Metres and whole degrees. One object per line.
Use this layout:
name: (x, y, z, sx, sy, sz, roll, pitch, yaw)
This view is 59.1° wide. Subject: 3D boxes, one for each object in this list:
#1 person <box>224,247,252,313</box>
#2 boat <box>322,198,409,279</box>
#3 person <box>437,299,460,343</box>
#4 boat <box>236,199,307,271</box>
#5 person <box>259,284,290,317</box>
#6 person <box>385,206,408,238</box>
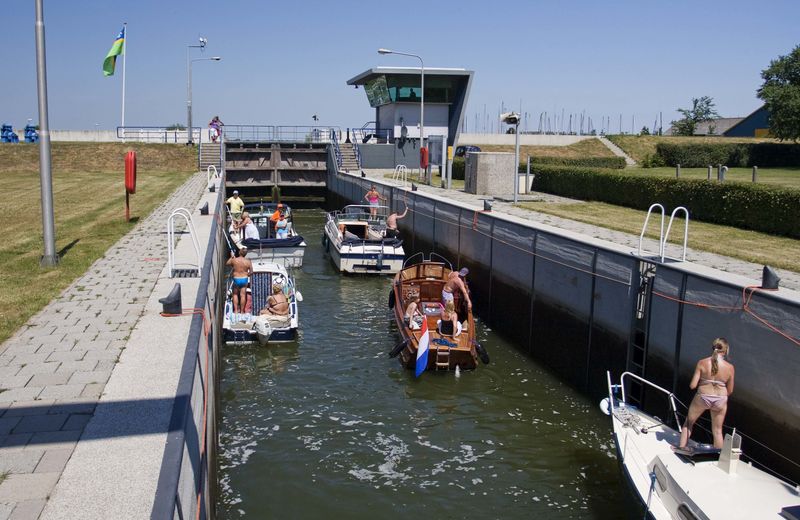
person: (-4.944, 0.637, 21.942, 0.668, 2.071, 1.152, -5, 12, -14)
boat: (-1.759, -0.994, 33.523, 2.377, 2.193, 5.588, 1, 17, -9)
person: (1.511, 1.752, 20.977, 0.647, 1.131, 0.596, -6, 12, -18)
boat: (-6.261, -1.125, 33.966, 1.761, 2.531, 6.567, -1, 18, -9)
person: (-3.905, 1.246, 22.618, 0.827, 1.243, 0.922, -2, 11, -32)
person: (-0.114, -1.844, 35.358, 0.804, 1.769, 0.575, 37, 33, 27)
